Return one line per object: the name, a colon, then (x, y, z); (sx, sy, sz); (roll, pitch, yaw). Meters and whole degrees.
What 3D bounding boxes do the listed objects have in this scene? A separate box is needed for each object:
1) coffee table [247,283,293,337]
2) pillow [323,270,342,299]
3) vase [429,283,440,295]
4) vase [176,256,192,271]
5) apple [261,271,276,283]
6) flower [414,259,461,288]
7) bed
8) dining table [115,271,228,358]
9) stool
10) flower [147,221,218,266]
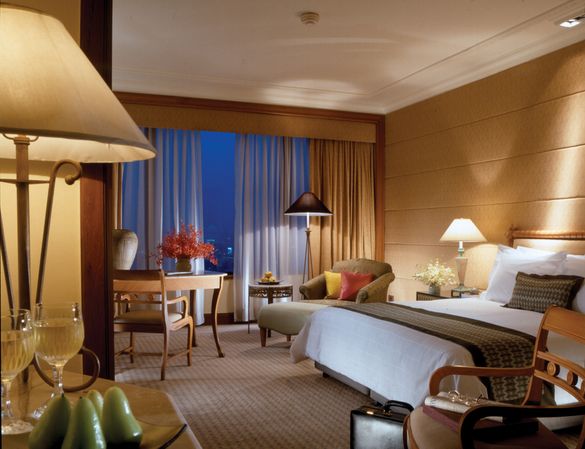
coffee table: (-0.267, 1.020, 5.964); (0.626, 0.743, 0.643); (-4, -7, 41)
pillow: (0.509, 0.734, 5.857); (0.078, 0.263, 0.265); (-8, -10, 34)
vase: (1.638, 0.743, 5.429); (0.116, 0.120, 0.123); (0, -5, 10)
vase: (-1.165, 0.412, 5.050); (0.141, 0.152, 0.152); (0, -2, 1)
apple: (-0.321, 0.670, 6.067); (0.140, 0.079, 0.191); (2, 0, -2)
flower: (1.723, 0.596, 5.604); (0.382, 0.276, 0.372); (5, -5, -44)
bed: (1.276, 0.827, 3.493); (1.441, 0.850, 1.534); (2, -5, -19)
dining table: (-1.150, 0.702, 4.570); (0.945, 0.760, 0.931); (-1, -8, 4)
stool: (-0.046, 1.011, 5.117); (0.531, 0.417, 0.764); (3, -7, -23)
flower: (-1.189, 0.283, 5.379); (0.605, 0.576, 0.641); (3, -11, -2)
